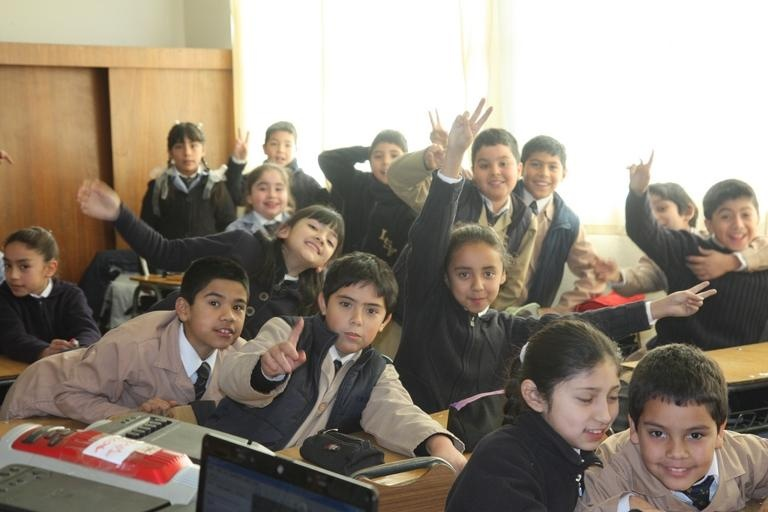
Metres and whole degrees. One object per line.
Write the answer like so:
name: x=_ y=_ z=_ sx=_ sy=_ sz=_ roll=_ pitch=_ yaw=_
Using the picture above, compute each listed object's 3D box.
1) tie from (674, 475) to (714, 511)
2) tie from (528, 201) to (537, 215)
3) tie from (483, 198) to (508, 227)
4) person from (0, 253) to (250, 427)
tie: x=1.003 y=0.781 z=2.129 sx=0.074 sy=0.082 sz=0.108 roll=1 pitch=-17 yaw=-7
tie: x=0.846 y=-0.266 z=3.663 sx=0.053 sy=0.071 sz=0.018 roll=-4 pitch=-12 yaw=7
tie: x=0.596 y=-0.227 z=3.503 sx=0.118 sy=0.157 sz=0.071 roll=-2 pitch=3 yaw=3
person: x=-0.948 y=0.328 z=2.726 sx=0.933 sy=0.565 sz=0.535 roll=-4 pitch=0 yaw=0
